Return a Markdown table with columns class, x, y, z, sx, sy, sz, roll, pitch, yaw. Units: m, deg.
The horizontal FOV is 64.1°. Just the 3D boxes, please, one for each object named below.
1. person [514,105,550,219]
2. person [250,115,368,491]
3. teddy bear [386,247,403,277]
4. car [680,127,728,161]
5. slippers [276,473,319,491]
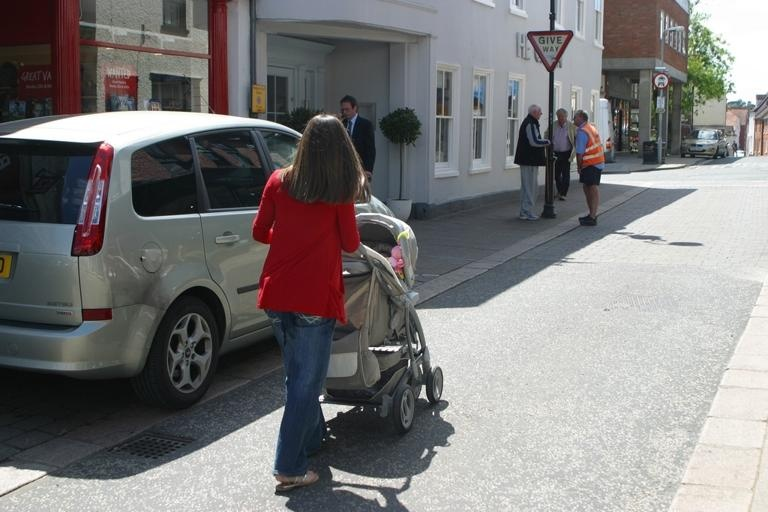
| class | x | y | z | sx | sy | sz | roll | pitch | yaw |
| --- | --- | --- | --- | --- | --- | --- | --- | --- | --- |
| person | 3.523 | -2.256 | 14.890 | 0.717 | 2.732 | 0.645 | -3 | 10 | -15 |
| person | -0.492 | 0.317 | 4.158 | 0.735 | 2.480 | 0.324 | -3 | 10 | -16 |
| teddy bear | 0.095 | 0.043 | 4.882 | 0.131 | 0.220 | 0.079 | 8 | 10 | 1 |
| car | 24.757 | -8.639 | 47.367 | 4.347 | 2.158 | 2.189 | -12 | 16 | -42 |
| slippers | -0.607 | 1.534 | 4.209 | 0.250 | 0.091 | 0.113 | -8 | 12 | -28 |
